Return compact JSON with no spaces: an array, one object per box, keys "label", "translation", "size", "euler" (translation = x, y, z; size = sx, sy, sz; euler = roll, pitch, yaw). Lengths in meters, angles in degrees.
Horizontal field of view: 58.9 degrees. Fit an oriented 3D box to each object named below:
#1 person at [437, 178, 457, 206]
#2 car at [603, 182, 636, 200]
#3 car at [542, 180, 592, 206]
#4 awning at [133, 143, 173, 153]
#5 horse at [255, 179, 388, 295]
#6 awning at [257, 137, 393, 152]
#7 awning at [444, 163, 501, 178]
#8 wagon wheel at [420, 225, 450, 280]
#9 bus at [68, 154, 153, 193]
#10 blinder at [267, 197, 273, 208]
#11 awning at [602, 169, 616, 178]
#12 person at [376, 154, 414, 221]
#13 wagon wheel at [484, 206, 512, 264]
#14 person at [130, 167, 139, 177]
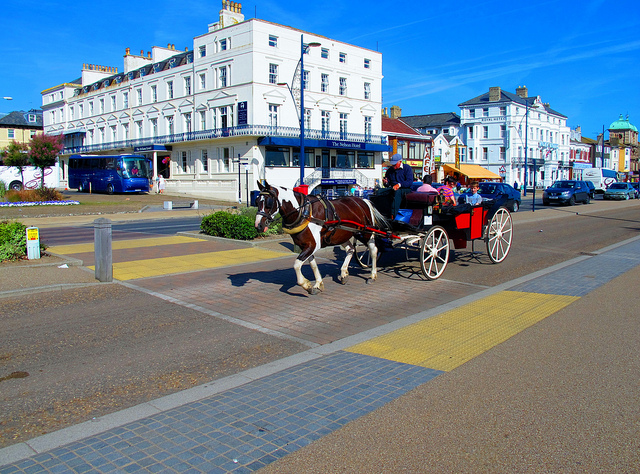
[{"label":"person","translation":[3.346,-1.288,14.634],"size":[0.302,0.562,1.040],"euler":[4,24,22]},{"label":"car","translation":[27.987,-4.238,52.738],"size":[3.166,1.523,1.738],"euler":[-11,16,-42]},{"label":"car","translation":[18.089,-3.236,41.355],"size":[4.148,1.698,1.921],"euler":[-11,16,-43]},{"label":"awning","translation":[-17.012,-9.095,57.761],"size":[1.809,1.090,5.514],"euler":[-10,15,-38]},{"label":"horse","translation":[-0.024,-0.015,11.590],"size":[0.749,2.402,2.954],"euler":[11,16,44]},{"label":"awning","translation":[0.861,-8.576,52.544],"size":[15.278,1.701,1.927],"euler":[-11,16,-43]},{"label":"awning","translation":[19.433,-8.304,71.875],"size":[3.776,1.736,8.222],"euler":[10,16,40]},{"label":"wagon wheel","translation":[2.656,0.331,13.072],"size":[0.521,1.223,1.483],"euler":[4,12,18]},{"label":"bus","translation":[-18.751,-5.629,49.888],"size":[9.573,3.442,3.128],"euler":[6,8,38]},{"label":"blinder","translation":[-0.953,-0.664,10.727],"size":[0.153,0.179,0.155],"euler":[-3,1,3]},{"label":"awning","translation":[33.975,-7.633,66.451],"size":[0.679,1.110,7.154],"euler":[8,14,33]},{"label":"person","translation":[1.830,-1.188,13.621],"size":[0.753,1.615,0.943],"euler":[-1,-3,36]},{"label":"wagon wheel","translation":[4.739,-0.047,15.119],"size":[0.164,1.607,1.590],"euler":[4,2,37]},{"label":"person","translation":[-15.324,-5.389,46.510],"size":[0.753,0.930,0.269],"euler":[3,15,22]}]
